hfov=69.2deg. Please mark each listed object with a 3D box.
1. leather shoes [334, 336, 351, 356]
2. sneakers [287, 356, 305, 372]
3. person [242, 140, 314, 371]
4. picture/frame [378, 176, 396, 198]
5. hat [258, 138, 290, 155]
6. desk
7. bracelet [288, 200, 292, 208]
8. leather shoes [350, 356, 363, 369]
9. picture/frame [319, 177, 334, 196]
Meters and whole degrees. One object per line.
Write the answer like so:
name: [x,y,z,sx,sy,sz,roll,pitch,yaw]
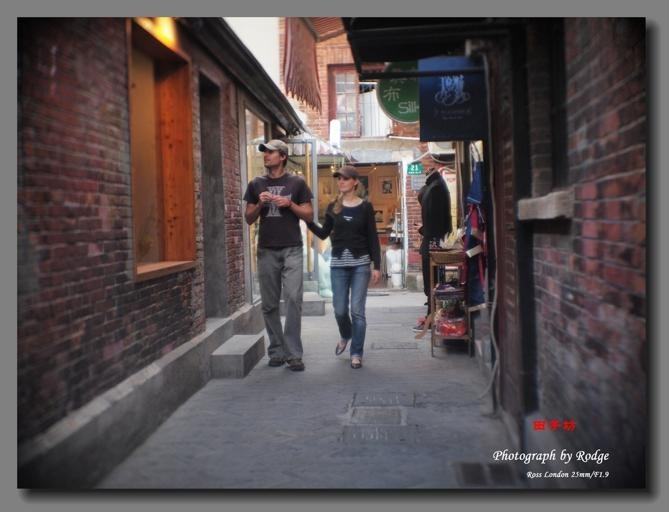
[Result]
leather shoes: [0.102,1.085,6.005,0.099,0.142,0.325,1,8,21]
sneakers: [-0.425,1.190,5.394,0.206,0.112,0.104,6,-4,2]
person: [-0.628,-0.004,5.419,0.670,2.562,0.529,2,8,22]
picture/frame: [1.355,-1.819,12.497,0.463,0.610,0.043,0,10,6]
hat: [-0.685,-1.206,5.345,0.357,0.166,0.240,-5,9,-27]
desk: [1.384,0.596,6.311,0.452,1.182,1.227,-6,-1,0]
bracelet: [-0.481,-0.564,5.233,0.033,0.054,0.053,-1,32,2]
leather shoes: [0.255,1.178,5.508,0.130,0.129,0.227,-1,8,0]
picture/frame: [-0.248,-1.992,13.645,0.516,0.660,0.078,4,-5,-16]
